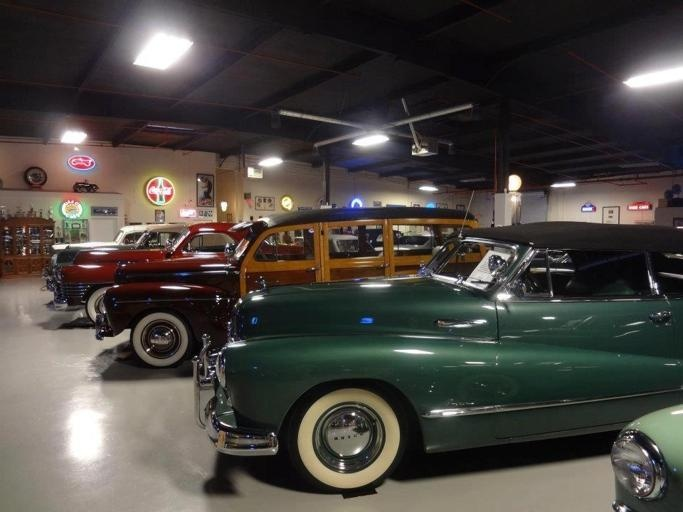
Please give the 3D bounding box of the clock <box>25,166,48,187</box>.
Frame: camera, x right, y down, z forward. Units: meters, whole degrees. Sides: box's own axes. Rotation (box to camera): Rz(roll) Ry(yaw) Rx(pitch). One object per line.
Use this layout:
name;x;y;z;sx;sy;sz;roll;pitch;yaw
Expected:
clock;-9.559;-2.493;13.768;0.553;0.643;0.219;-7;12;-29
